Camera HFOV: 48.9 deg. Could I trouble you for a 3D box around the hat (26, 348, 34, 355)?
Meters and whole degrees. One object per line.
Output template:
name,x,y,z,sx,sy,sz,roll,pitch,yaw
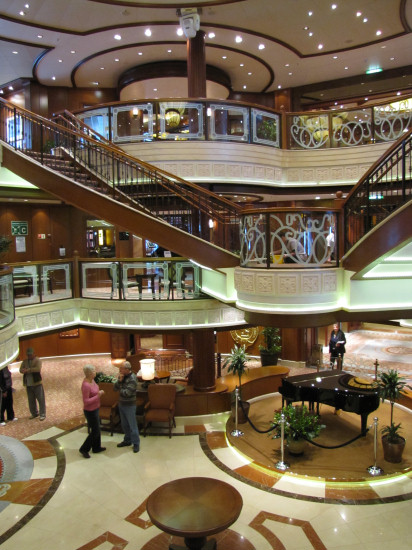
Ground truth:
hat,-3.266,1.429,8.414,0.128,0.091,0.172,0,2,-18

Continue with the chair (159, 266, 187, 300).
chair,-0.818,0.187,9.361,0.462,0.555,0.449,-3,0,14

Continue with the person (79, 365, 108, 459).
person,-1.815,2.159,7.191,0.413,1.575,0.746,-2,3,-14

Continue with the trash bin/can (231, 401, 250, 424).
trash bin/can,0.659,2.621,8.630,0.379,0.312,0.409,-1,-5,8

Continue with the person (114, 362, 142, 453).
person,-1.296,2.164,7.496,0.373,1.547,0.613,-2,3,-10

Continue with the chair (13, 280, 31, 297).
chair,-3.652,0.263,9.025,0.302,0.397,0.303,-6,11,-43

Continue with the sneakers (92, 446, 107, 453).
sneakers,-1.752,2.868,7.500,0.210,0.132,0.078,-11,20,-32

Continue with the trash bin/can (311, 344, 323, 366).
trash bin/can,3.188,2.325,13.071,0.298,0.565,0.473,0,3,11

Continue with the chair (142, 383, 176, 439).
chair,-0.852,2.471,8.351,0.618,0.732,0.660,0,1,12

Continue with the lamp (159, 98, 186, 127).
lamp,-0.733,-3.456,9.776,0.528,0.375,0.483,10,-14,-32

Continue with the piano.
piano,2.330,2.213,8.017,1.393,0.813,1.701,-3,3,-41

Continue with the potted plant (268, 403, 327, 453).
potted plant,1.433,2.426,7.458,0.879,0.845,0.819,0,6,2

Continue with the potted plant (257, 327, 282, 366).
potted plant,1.787,2.054,12.544,0.600,1.179,2.445,-1,3,9

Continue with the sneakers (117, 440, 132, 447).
sneakers,-1.389,2.880,7.748,0.247,0.091,0.080,9,-6,-29

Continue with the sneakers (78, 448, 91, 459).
sneakers,-1.995,2.864,7.269,0.266,0.101,0.088,24,-27,-26

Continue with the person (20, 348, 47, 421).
person,-3.334,2.108,8.729,0.394,1.517,0.774,-2,3,-19

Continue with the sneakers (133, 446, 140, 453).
sneakers,-1.153,2.880,7.504,0.118,0.111,0.078,1,3,27
